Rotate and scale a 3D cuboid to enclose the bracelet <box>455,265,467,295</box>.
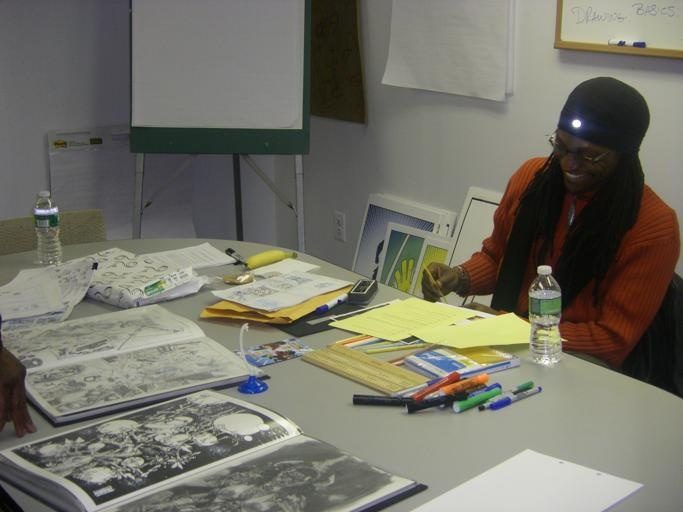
[{"bbox_3d":[0.457,0.094,1.873,0.029,0.082,0.075,-2,16,12],"label":"bracelet"}]

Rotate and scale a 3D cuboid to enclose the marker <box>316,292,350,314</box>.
[{"bbox_3d":[-0.015,0.127,1.449,0.030,0.025,0.167,14,19,27],"label":"marker"}]

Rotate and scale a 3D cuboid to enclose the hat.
[{"bbox_3d":[0.837,-0.444,1.579,0.253,0.238,0.126,2,11,-3],"label":"hat"}]

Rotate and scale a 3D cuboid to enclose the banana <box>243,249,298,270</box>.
[{"bbox_3d":[-0.241,0.009,1.751,0.205,0.057,0.061,-14,42,-36],"label":"banana"}]
